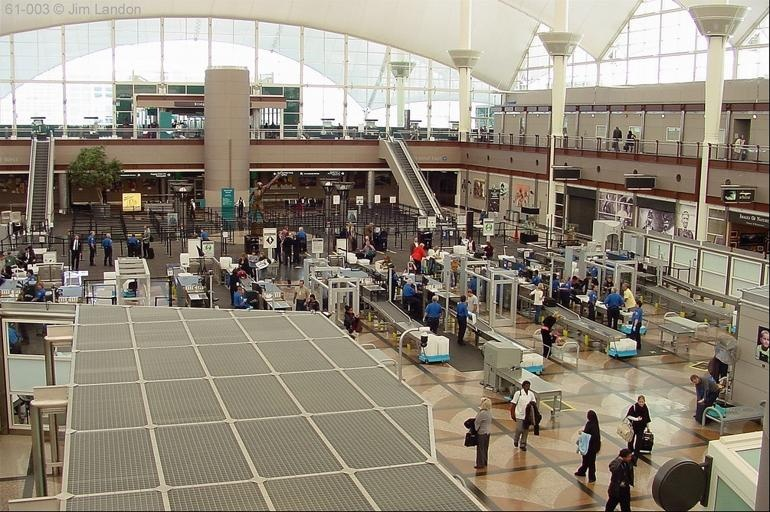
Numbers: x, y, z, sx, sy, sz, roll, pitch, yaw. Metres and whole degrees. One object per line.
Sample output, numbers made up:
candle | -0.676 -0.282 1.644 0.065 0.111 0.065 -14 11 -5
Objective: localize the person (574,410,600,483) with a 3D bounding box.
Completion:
person | 4.637 4.243 13.927 0.497 1.707 0.825 8 9 20

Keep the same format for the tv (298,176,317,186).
tv | -7.267 -6.964 57.177 1.417 0.929 0.319 -4 9 -19

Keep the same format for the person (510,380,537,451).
person | 3.443 3.883 15.299 0.542 1.814 0.893 8 9 20

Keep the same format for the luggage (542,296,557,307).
luggage | 6.685 1.906 25.149 0.505 0.331 0.348 -2 4 -24

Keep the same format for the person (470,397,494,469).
person | 2.304 4.067 14.464 0.434 1.745 0.895 7 8 12

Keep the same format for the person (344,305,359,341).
person | -1.174 2.327 20.886 0.465 1.080 0.760 5 8 -1

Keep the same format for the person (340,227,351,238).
person | -2.448 -1.385 36.344 0.604 0.736 0.748 -4 -34 -2
